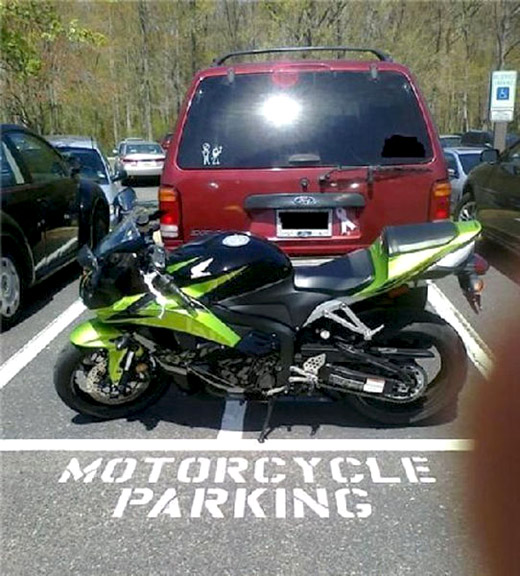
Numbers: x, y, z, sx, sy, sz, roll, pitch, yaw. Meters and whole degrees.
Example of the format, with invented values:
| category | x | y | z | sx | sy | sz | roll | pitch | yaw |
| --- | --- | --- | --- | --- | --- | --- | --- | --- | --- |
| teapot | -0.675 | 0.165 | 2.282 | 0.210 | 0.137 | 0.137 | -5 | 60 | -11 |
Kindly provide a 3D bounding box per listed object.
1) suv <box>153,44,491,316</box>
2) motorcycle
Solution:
| category | x | y | z | sx | sy | sz | roll | pitch | yaw |
| --- | --- | --- | --- | --- | --- | --- | --- | --- | --- |
| suv | 0.376 | -1.268 | 4.250 | 1.497 | 1.312 | 2.418 | -1 | 20 | 3 |
| motorcycle | 0.018 | 0.096 | 3.126 | 2.866 | 1.451 | 1.090 | 1 | 13 | 2 |
